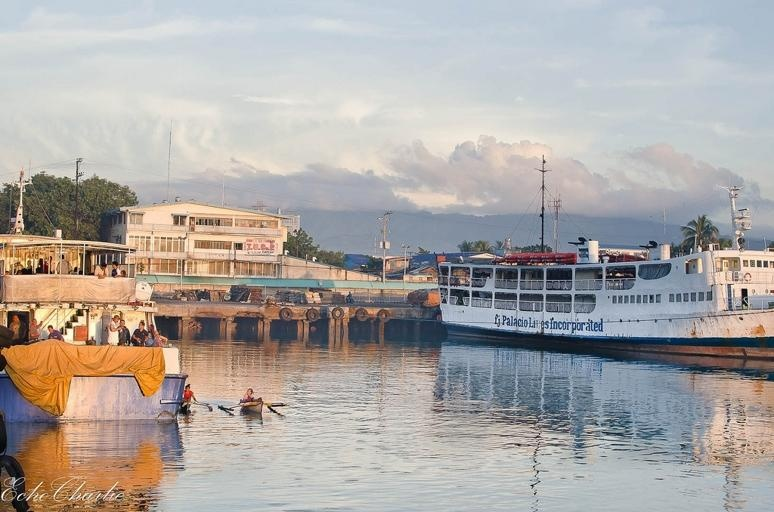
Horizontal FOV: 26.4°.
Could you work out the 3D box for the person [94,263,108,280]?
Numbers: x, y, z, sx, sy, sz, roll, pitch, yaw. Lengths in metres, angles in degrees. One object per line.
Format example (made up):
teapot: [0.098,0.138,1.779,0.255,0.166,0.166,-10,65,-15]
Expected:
person: [-18.320,0.938,105.831,0.768,0.924,0.419,8,7,-18]

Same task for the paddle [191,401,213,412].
paddle: [-12.140,9.835,108.997,1.175,0.234,1.879,-2,9,-23]
